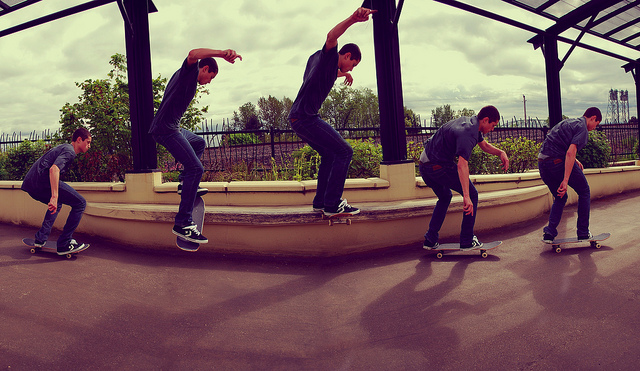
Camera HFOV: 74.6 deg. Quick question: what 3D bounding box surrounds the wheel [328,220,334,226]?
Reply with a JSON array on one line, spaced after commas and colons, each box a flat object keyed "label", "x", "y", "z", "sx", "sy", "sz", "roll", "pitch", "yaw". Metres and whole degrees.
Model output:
[{"label": "wheel", "x": 0.221, "y": 0.741, "z": 8.407, "sx": 0.109, "sy": 0.147, "sz": 0.094, "roll": 1, "pitch": 19, "yaw": 0}]

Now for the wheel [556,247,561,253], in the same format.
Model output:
[{"label": "wheel", "x": 4.684, "y": 1.252, "z": 8.311, "sx": 0.130, "sy": 0.104, "sz": 0.040, "roll": -7, "pitch": 9, "yaw": -39}]

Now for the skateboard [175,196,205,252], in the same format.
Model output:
[{"label": "skateboard", "x": -2.402, "y": 0.661, "z": 8.063, "sx": 0.414, "sy": 1.204, "sz": 0.216, "roll": 5, "pitch": -9, "yaw": 3}]

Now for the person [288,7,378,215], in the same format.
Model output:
[{"label": "person", "x": 0.103, "y": -1.227, "z": 7.791, "sx": 1.323, "sy": 3.748, "sz": 1.020, "roll": -1, "pitch": 7, "yaw": -1}]

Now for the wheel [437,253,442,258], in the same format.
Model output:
[{"label": "wheel", "x": 2.337, "y": 1.361, "z": 8.251, "sx": 0.088, "sy": 0.080, "sz": 0.047, "roll": -3, "pitch": 8, "yaw": -19}]

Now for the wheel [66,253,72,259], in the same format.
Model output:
[{"label": "wheel", "x": -5.093, "y": 1.424, "z": 8.620, "sx": 0.089, "sy": 0.092, "sz": 0.099, "roll": -5, "pitch": 8, "yaw": -29}]

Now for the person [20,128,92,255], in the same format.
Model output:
[{"label": "person", "x": -5.330, "y": 0.103, "z": 8.795, "sx": 1.197, "sy": 2.580, "sz": 0.883, "roll": 3, "pitch": 8, "yaw": 28}]

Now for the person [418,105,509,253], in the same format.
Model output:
[{"label": "person", "x": 2.782, "y": -0.102, "z": 8.364, "sx": 1.194, "sy": 2.883, "sz": 1.246, "roll": 5, "pitch": 9, "yaw": 38}]

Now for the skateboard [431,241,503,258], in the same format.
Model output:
[{"label": "skateboard", "x": 3.116, "y": 1.188, "z": 8.285, "sx": 1.905, "sy": 0.284, "sz": 0.443, "roll": 0, "pitch": 18, "yaw": 7}]

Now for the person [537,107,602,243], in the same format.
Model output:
[{"label": "person", "x": 5.095, "y": -0.224, "z": 8.608, "sx": 1.185, "sy": 2.715, "sz": 1.068, "roll": 0, "pitch": 7, "yaw": 9}]

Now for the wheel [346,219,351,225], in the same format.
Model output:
[{"label": "wheel", "x": 0.571, "y": 0.724, "z": 8.393, "sx": 0.088, "sy": 0.142, "sz": 0.210, "roll": -1, "pitch": 7, "yaw": 3}]

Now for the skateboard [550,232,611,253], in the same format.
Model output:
[{"label": "skateboard", "x": 5.136, "y": 1.088, "z": 8.433, "sx": 1.725, "sy": 0.266, "sz": 0.440, "roll": -3, "pitch": 12, "yaw": 0}]

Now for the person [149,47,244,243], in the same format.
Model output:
[{"label": "person", "x": -2.373, "y": -0.588, "z": 7.876, "sx": 1.008, "sy": 3.734, "sz": 1.413, "roll": -8, "pitch": 10, "yaw": -41}]

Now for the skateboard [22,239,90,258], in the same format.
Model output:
[{"label": "skateboard", "x": -5.465, "y": 1.312, "z": 8.744, "sx": 1.085, "sy": 0.165, "sz": 0.261, "roll": 6, "pitch": 41, "yaw": 1}]
